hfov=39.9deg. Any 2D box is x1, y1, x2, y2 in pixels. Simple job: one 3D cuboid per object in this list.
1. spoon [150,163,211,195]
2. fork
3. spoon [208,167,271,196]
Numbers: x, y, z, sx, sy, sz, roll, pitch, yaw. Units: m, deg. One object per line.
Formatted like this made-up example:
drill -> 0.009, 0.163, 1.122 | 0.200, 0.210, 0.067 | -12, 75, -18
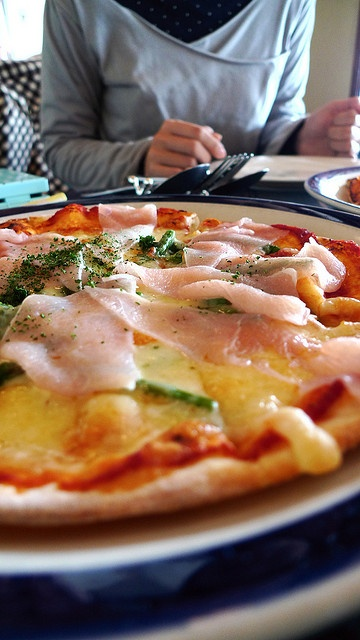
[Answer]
spoon -> 0.002, -0.496, 1.729 | 0.168, 0.103, 0.347 | 6, 17, 7
fork -> 0.210, -0.599, 1.923 | 0.072, 0.086, 0.523 | -5, 27, 35
spoon -> 0.208, -0.515, 1.841 | 0.188, 0.094, 0.187 | 5, 17, 3
